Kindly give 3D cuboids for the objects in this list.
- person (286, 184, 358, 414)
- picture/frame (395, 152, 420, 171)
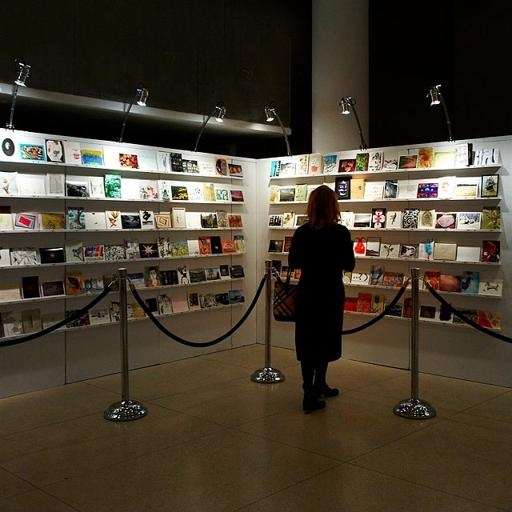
[{"bbox_3d":[0.528,0.360,3.350,0.461,1.843,0.570,1,-3,-27],"label":"person"},{"bbox_3d":[1.724,-1.067,4.709,0.207,0.186,0.021,2,-6,41],"label":"picture/frame"}]
